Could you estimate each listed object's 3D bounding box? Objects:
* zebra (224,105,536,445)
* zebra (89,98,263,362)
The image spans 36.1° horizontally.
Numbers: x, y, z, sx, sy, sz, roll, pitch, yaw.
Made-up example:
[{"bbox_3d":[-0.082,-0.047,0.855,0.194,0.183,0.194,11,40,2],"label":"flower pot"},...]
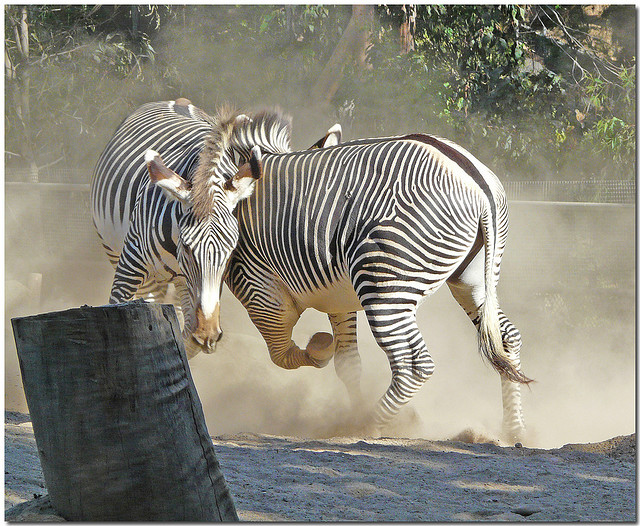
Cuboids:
[{"bbox_3d":[0.489,0.162,9.171,2.700,3.132,1.136,5,6,20],"label":"zebra"},{"bbox_3d":[-1.401,-0.463,9.203,1.079,2.364,3.210,1,19,-13],"label":"zebra"}]
